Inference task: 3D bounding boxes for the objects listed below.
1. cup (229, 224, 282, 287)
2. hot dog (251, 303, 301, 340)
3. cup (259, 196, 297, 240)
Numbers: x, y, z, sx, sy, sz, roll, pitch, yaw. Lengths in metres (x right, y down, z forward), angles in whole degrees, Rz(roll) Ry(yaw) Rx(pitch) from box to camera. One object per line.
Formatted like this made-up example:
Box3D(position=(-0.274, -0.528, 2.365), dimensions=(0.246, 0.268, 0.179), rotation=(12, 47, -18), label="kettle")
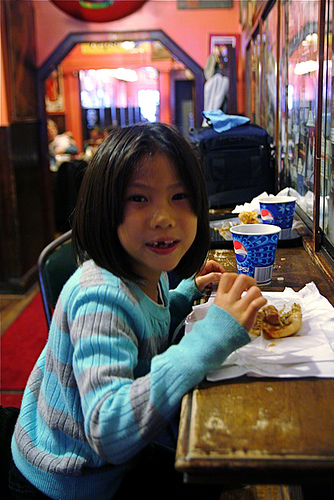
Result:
Box3D(position=(0.236, 0.007, 0.940), dimensions=(0.126, 0.153, 0.125), rotation=(-5, 18, 2), label="cup")
Box3D(position=(0.186, 0.114, 0.611), dimensions=(0.079, 0.037, 0.069), rotation=(-7, 24, 25), label="hot dog")
Box3D(position=(0.368, -0.122, 1.239), dimensions=(0.121, 0.145, 0.135), rotation=(-4, 11, -2), label="cup")
